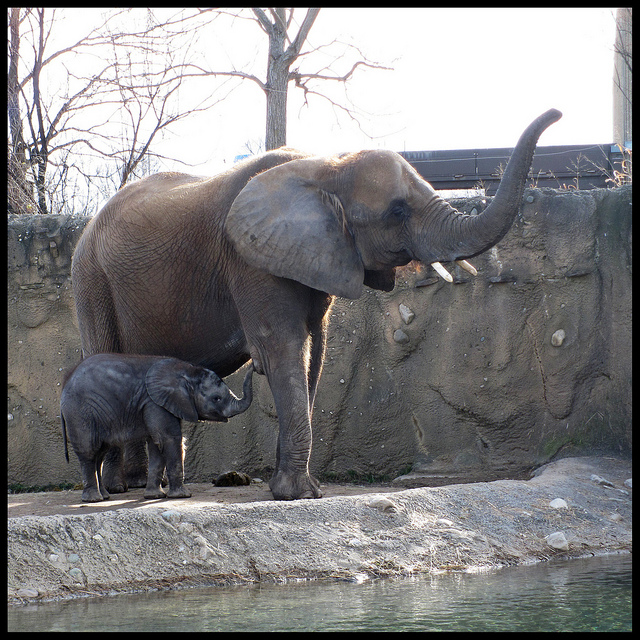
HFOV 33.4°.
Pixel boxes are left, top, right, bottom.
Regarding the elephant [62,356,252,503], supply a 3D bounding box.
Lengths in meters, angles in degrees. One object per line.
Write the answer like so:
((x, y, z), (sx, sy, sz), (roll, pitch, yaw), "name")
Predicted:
((-1.169, 0.763, 7.748), (1.381, 1.100, 0.682), (-4, 4, -6), "elephant")
